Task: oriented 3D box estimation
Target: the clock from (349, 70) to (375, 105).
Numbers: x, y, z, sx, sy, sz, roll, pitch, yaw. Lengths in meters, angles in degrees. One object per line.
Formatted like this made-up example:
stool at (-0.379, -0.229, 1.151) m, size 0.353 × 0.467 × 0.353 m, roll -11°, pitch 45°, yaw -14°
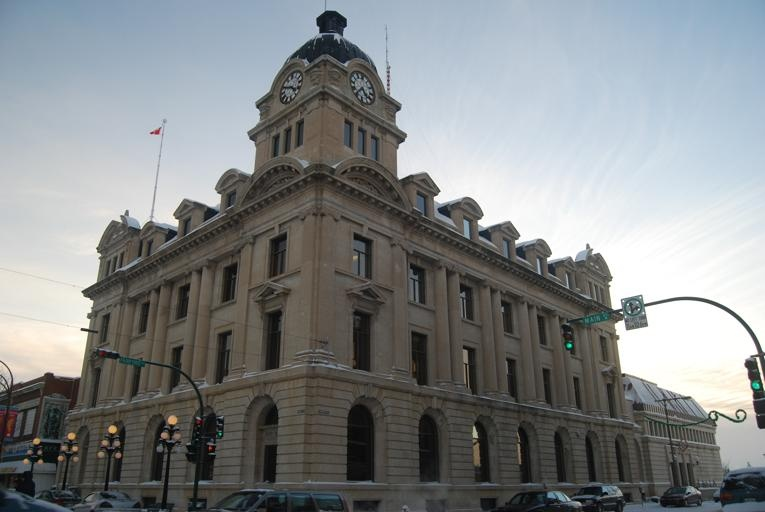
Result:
clock at (-1.513, -13.623, 46.563) m, size 2.140 × 1.992 × 0.064 m, roll -6°, pitch 12°, yaw 38°

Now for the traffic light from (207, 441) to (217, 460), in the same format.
traffic light at (-10.174, 11.442, 33.521) m, size 0.466 × 0.900 × 0.881 m, roll 0°, pitch -29°, yaw -2°

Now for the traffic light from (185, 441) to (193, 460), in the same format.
traffic light at (-11.161, 11.350, 33.011) m, size 0.463 × 1.037 × 1.026 m, roll 8°, pitch -30°, yaw -16°

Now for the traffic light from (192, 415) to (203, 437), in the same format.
traffic light at (-10.924, 10.086, 33.420) m, size 0.426 × 1.172 × 0.622 m, roll 14°, pitch -33°, yaw -24°
